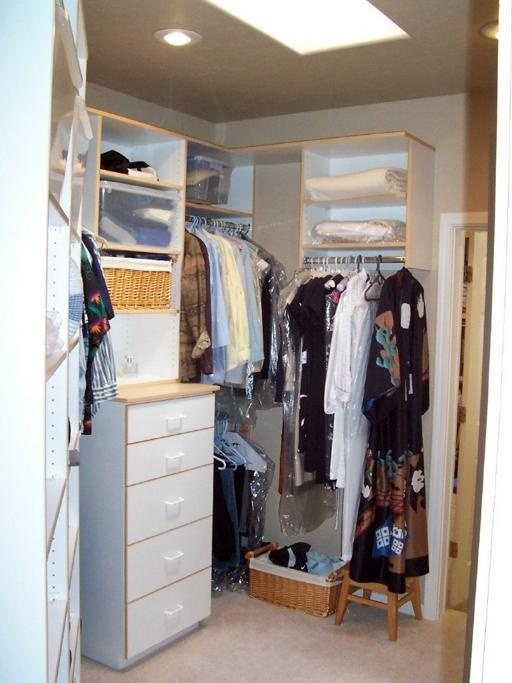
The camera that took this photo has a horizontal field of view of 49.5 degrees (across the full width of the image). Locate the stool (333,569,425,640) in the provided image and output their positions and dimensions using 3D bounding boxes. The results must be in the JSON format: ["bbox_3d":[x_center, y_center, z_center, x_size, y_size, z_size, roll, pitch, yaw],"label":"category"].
[{"bbox_3d":[0.652,1.329,2.918,0.375,0.352,0.414,3,0,31],"label":"stool"}]

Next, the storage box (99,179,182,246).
[{"bbox_3d":[-0.534,-0.582,2.581,0.236,0.202,0.343,5,5,37],"label":"storage box"}]

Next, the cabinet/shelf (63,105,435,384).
[{"bbox_3d":[0.093,-0.711,2.793,1.659,1.458,1.299,2,4,26],"label":"cabinet/shelf"}]

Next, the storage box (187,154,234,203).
[{"bbox_3d":[-0.258,-0.905,3.162,0.195,0.195,0.304,2,1,24],"label":"storage box"}]

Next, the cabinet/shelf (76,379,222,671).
[{"bbox_3d":[-0.463,0.816,2.524,0.650,1.118,0.295,2,0,-38],"label":"cabinet/shelf"}]
